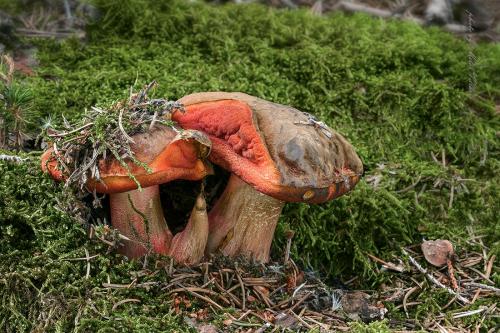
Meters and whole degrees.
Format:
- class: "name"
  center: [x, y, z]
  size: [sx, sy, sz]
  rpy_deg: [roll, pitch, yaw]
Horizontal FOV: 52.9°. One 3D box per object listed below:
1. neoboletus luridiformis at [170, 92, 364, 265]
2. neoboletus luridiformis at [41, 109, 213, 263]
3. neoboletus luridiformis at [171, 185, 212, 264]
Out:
- class: "neoboletus luridiformis"
  center: [0.036, -0.202, 5.644]
  size: [1.646, 1.845, 2.334]
  rpy_deg: [12, 21, 37]
- class: "neoboletus luridiformis"
  center: [-1.115, 0.187, 5.390]
  size: [1.644, 1.578, 1.420]
  rpy_deg: [8, 15, 15]
- class: "neoboletus luridiformis"
  center: [-0.596, 0.634, 5.184]
  size: [0.488, 0.654, 0.877]
  rpy_deg: [-3, 14, -9]
